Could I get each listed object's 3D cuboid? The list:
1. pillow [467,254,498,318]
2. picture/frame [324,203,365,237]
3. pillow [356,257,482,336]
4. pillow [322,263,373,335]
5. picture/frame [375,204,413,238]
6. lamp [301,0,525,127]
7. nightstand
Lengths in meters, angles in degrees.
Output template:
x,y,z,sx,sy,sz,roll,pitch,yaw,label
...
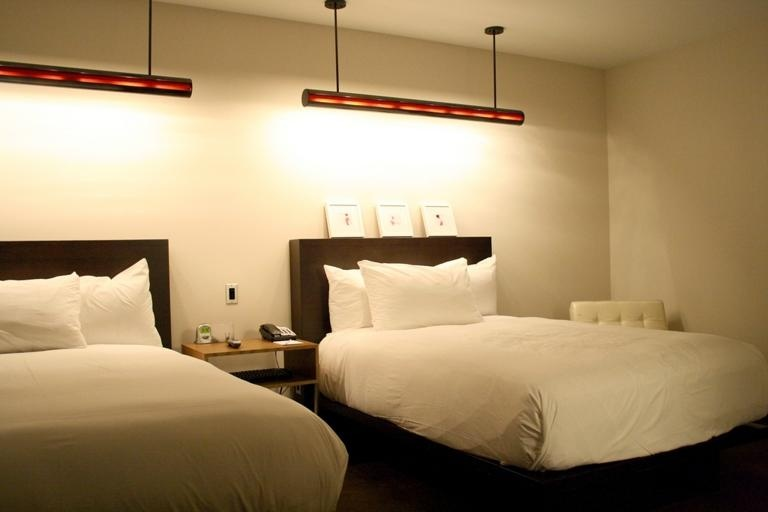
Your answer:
x,y,z,sx,sy,sz,roll,pitch,yaw,label
0.979,0.327,5.181,0.221,0.594,0.632,-11,-15,24,pillow
-0.377,-0.318,4.870,0.317,0.279,0.041,-4,-17,-31,picture/frame
0.375,0.334,4.547,1.058,0.602,0.310,-3,-4,-22,pillow
-0.301,0.384,4.518,0.495,0.438,0.258,-12,-28,-18,pillow
0.126,-0.354,5.099,0.383,0.339,0.047,4,23,41,picture/frame
0.252,-1.690,4.761,2.030,1.013,0.586,0,-3,-21,lamp
-1.020,1.060,4.236,0.888,0.609,0.504,5,0,-43,nightstand
